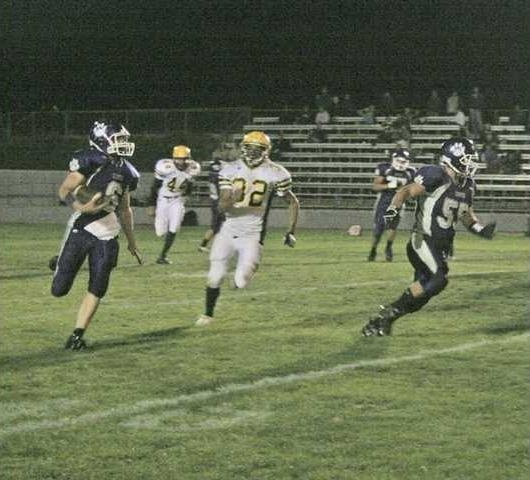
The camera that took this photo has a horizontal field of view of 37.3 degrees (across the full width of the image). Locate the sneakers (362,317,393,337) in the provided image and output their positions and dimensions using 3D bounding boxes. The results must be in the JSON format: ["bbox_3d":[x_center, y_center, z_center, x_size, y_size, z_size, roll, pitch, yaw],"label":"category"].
[{"bbox_3d":[1.121,0.881,7.787,0.228,0.106,0.291,-17,0,27],"label":"sneakers"}]

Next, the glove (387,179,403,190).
[{"bbox_3d":[2.215,-0.941,13.381,0.225,0.080,0.158,-25,42,-32],"label":"glove"}]

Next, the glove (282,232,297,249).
[{"bbox_3d":[0.247,0.013,8.063,0.169,0.169,0.078,-2,8,0],"label":"glove"}]

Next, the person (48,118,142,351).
[{"bbox_3d":[-1.589,-0.055,7.342,0.846,2.089,0.803,-1,11,-10],"label":"person"}]

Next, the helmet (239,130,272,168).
[{"bbox_3d":[-0.067,-0.908,8.186,0.331,0.284,0.396,-8,-8,33],"label":"helmet"}]

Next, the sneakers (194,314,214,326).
[{"bbox_3d":[-0.635,0.837,8.165,0.114,0.042,0.150,6,11,13],"label":"sneakers"}]

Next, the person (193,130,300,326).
[{"bbox_3d":[-0.184,-0.106,8.143,1.043,2.005,0.634,1,11,0],"label":"person"}]

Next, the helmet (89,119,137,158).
[{"bbox_3d":[-1.420,-0.937,7.232,0.461,0.240,0.273,2,8,1],"label":"helmet"}]

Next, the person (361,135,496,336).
[{"bbox_3d":[1.571,-0.020,7.711,1.023,1.959,0.505,0,11,-2],"label":"person"}]

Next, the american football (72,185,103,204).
[{"bbox_3d":[-1.610,-0.410,7.060,0.251,0.155,0.174,0,4,11],"label":"american football"}]

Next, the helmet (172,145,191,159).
[{"bbox_3d":[-1.365,-1.420,12.933,0.390,0.192,0.466,0,4,-11],"label":"helmet"}]
